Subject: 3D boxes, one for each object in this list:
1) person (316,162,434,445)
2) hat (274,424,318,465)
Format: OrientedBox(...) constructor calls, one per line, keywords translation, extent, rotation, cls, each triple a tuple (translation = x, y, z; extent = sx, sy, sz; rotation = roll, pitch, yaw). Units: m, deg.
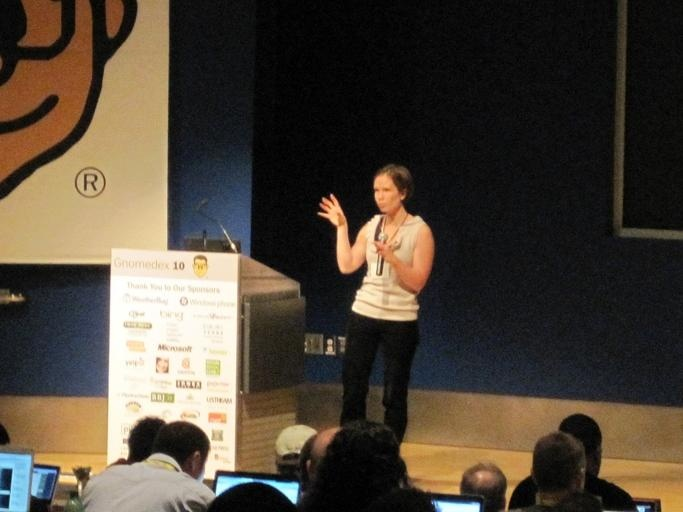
OrientedBox(translation=(0.332, 0.306, 6.106), extent=(0.619, 1.949, 0.375), rotation=(2, -5, 9), cls="person")
OrientedBox(translation=(-0.291, 1.104, 5.169), extent=(0.304, 0.300, 0.086), rotation=(-7, -31, 16), cls="hat")
